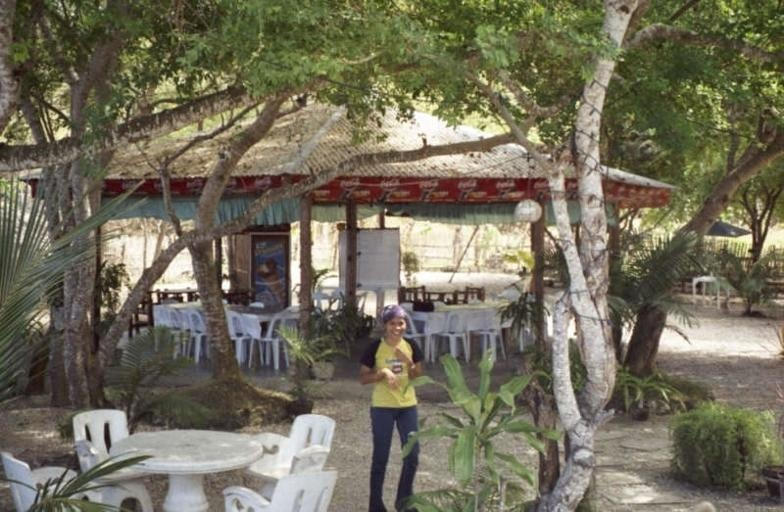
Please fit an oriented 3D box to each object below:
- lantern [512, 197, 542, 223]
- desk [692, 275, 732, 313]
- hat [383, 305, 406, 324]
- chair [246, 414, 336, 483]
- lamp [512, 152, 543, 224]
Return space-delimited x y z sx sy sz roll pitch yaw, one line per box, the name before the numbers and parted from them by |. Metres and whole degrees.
lantern | 2.076 -0.710 16.982 0.349 0.375 0.700 1 -4 4
desk | 8.591 0.992 29.867 1.002 0.959 1.094 -4 -2 -2
hat | 0.015 0.779 13.919 0.222 0.199 0.242 2 8 17
chair | -1.268 2.426 13.821 0.852 0.729 0.870 0 -11 40
lamp | 2.090 -0.838 17.187 0.504 1.211 0.555 0 3 4
